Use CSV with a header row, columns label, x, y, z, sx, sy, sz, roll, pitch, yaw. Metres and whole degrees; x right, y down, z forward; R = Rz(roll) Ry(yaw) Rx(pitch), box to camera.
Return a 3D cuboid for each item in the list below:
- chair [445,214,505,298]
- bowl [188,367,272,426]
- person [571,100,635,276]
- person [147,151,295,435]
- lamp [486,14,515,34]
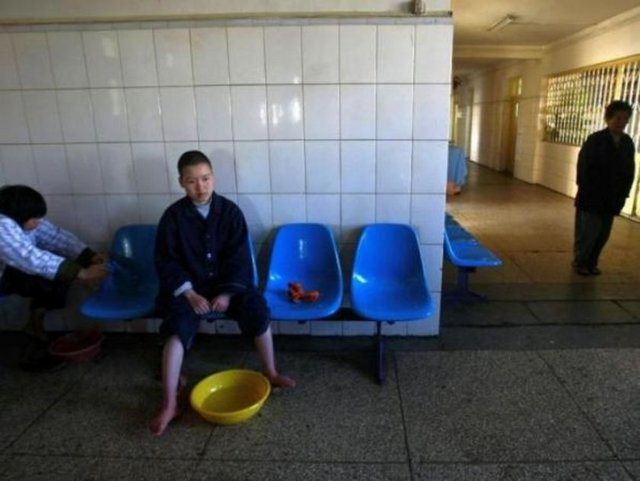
label,x,y,z,sx,sy,sz,roll,pitch,yaw
chair,1.384,0.168,4.434,0.476,0.766,0.991,4,22,14
bowl,-0.588,1.013,3.079,0.495,0.122,0.491,-1,16,0
person,2.880,-0.509,4.806,0.535,1.685,0.609,3,23,13
person,-0.733,0.253,3.208,0.813,1.581,0.865,-4,22,-6
lamp,2.660,-3.174,6.995,0.247,0.061,0.223,-4,-7,-30
